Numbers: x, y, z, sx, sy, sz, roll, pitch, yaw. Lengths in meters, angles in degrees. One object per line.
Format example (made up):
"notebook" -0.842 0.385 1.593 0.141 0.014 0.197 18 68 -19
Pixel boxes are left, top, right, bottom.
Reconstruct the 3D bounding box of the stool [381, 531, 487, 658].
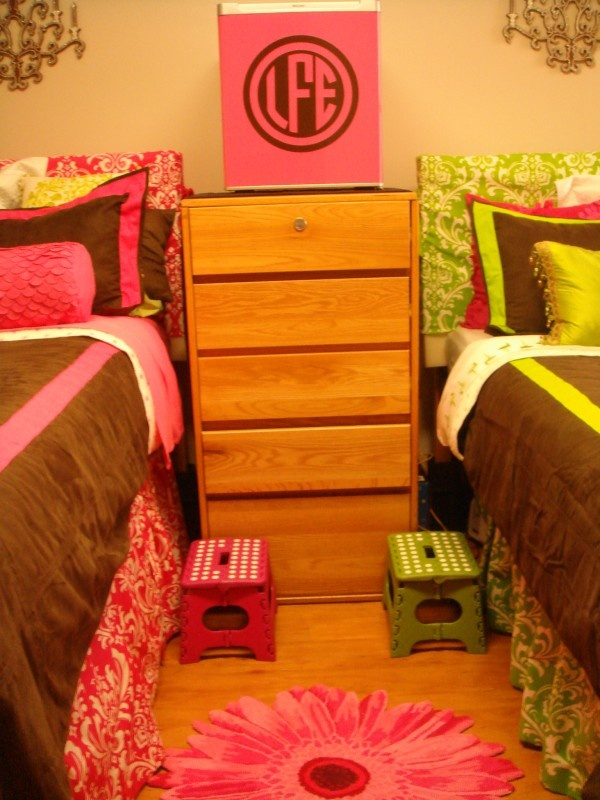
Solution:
"stool" 0.300 0.436 1.565 0.219 0.182 0.271 -3 24 0

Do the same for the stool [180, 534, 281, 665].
"stool" -0.155 0.444 1.577 0.221 0.201 0.275 -1 17 -2

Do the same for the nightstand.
"nightstand" 0.002 -0.013 1.841 0.602 1.049 0.364 -3 16 -7
